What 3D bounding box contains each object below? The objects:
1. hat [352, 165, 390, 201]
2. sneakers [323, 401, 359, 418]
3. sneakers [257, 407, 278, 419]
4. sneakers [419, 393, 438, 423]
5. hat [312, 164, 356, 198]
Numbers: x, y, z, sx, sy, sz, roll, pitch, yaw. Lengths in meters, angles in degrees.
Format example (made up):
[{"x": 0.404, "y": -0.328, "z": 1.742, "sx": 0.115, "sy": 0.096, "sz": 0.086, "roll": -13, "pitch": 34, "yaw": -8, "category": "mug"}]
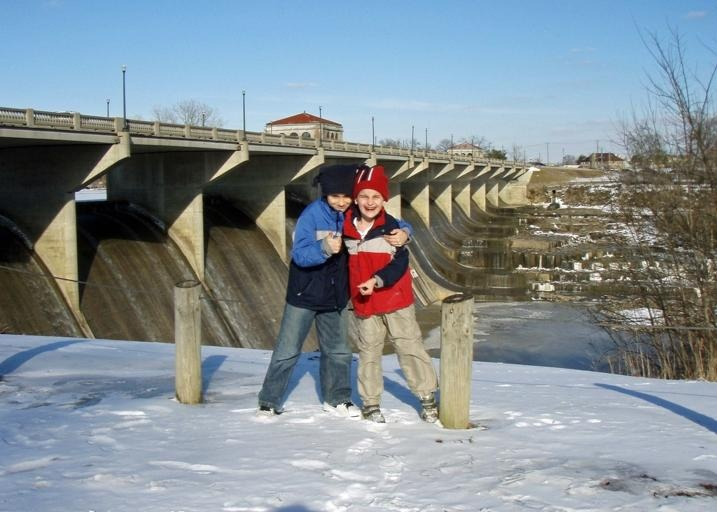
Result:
[{"x": 0.154, "y": -0.765, "z": 7.519, "sx": 0.378, "sy": 0.351, "sz": 0.391, "roll": 4, "pitch": 4, "yaw": 3, "category": "hat"}, {"x": -0.176, "y": 1.702, "z": 7.983, "sx": 0.420, "sy": 0.145, "sz": 0.146, "roll": 0, "pitch": 0, "yaw": 15, "category": "sneakers"}, {"x": -1.021, "y": 1.722, "z": 7.889, "sx": 0.288, "sy": 0.085, "sz": 0.108, "roll": -3, "pitch": -11, "yaw": -5, "category": "sneakers"}, {"x": 0.778, "y": 1.686, "z": 7.936, "sx": 0.317, "sy": 0.390, "sz": 0.282, "roll": -3, "pitch": -9, "yaw": 5, "category": "sneakers"}, {"x": -0.252, "y": -0.809, "z": 7.805, "sx": 0.383, "sy": 0.212, "sz": 0.366, "roll": -4, "pitch": 5, "yaw": -6, "category": "hat"}]
